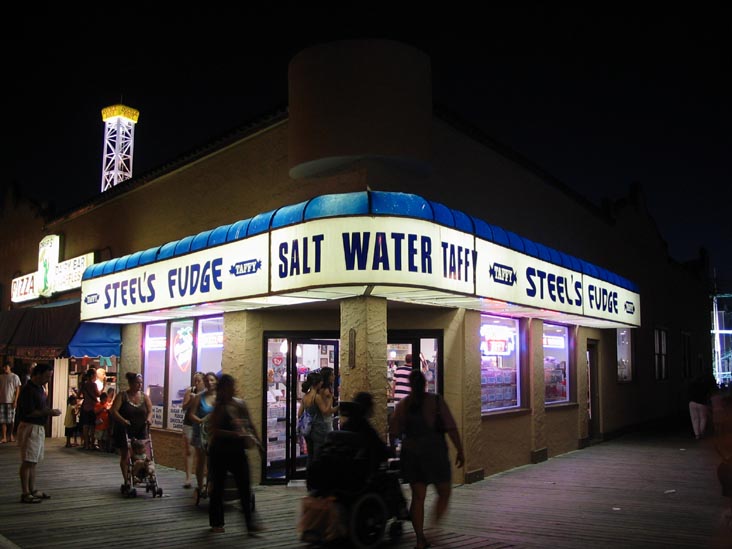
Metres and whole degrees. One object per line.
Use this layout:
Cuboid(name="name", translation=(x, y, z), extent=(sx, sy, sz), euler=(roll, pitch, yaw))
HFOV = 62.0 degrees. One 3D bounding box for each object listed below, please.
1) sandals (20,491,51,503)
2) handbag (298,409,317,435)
Cuboid(name="sandals", translation=(-6.013, 4.012, 10.986), extent=(0.312, 0.116, 0.246), euler=(-2, -6, 15))
Cuboid(name="handbag", translation=(-1.074, 2.693, 11.182), extent=(0.172, 0.429, 0.368), euler=(17, -22, -39))
